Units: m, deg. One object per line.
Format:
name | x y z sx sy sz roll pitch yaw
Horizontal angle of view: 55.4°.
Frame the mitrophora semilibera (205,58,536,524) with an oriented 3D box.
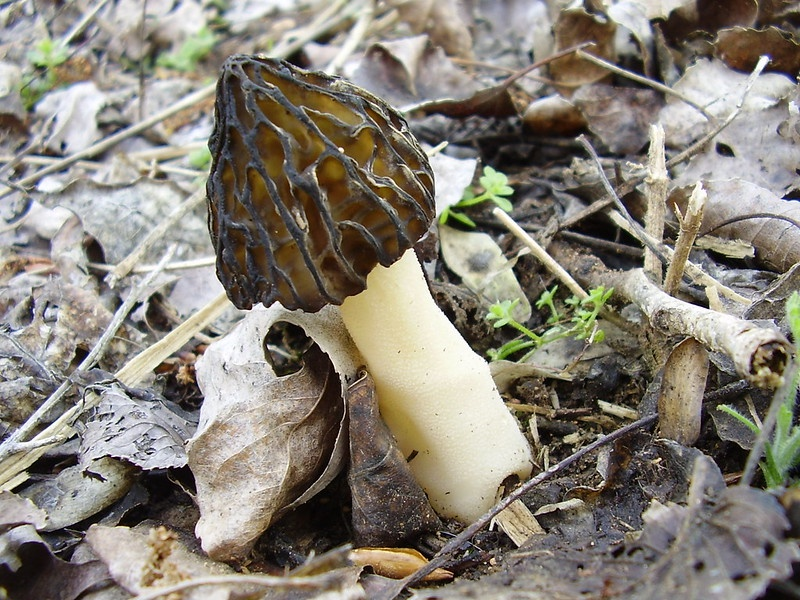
mitrophora semilibera | -0.136 -0.033 2.951 0.794 1.848 0.690 -38 30 -23
